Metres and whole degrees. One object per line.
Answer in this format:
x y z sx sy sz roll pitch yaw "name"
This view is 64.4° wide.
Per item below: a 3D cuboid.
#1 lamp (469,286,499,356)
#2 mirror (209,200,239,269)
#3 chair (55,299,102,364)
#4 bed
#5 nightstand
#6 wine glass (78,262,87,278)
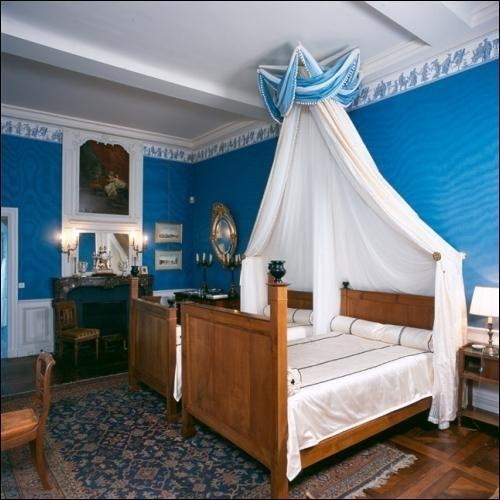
1.994 0.577 3.398 0.200 0.540 0.374 -1 1 31 "lamp"
-0.434 -0.303 6.630 0.138 0.994 0.663 -2 1 -37 "mirror"
-2.460 1.133 5.679 0.460 0.743 0.754 -2 0 -42 "chair"
0.480 1.027 3.462 1.738 1.233 1.767 2 0 -34 "bed"
1.964 1.173 3.451 0.319 0.721 0.367 -1 1 29 "nightstand"
-2.570 0.297 6.130 0.087 0.293 0.164 -11 -14 38 "wine glass"
